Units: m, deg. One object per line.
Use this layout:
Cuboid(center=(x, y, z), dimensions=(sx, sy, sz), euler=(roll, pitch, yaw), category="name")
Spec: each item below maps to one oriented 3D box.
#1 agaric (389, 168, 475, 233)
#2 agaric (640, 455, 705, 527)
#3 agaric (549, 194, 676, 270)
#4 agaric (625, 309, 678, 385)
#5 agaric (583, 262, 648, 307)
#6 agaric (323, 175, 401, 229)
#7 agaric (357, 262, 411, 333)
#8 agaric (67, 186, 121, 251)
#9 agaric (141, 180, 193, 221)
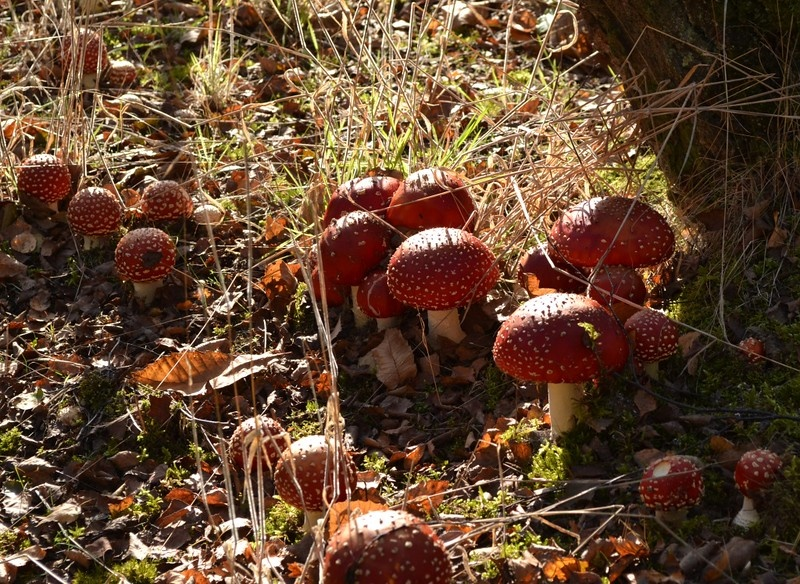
Cuboid(center=(0.228, -0.606, 5.300), dimensions=(0.457, 0.377, 0.455), euler=(-14, 41, -19), category="agaric")
Cuboid(center=(1.412, 1.058, 4.183), dimensions=(0.327, 0.371, 0.374), euler=(19, 69, -18), category="agaric")
Cuboid(center=(1.342, -0.340, 4.906), dimensions=(0.516, 0.523, 0.304), euler=(1, 103, -1), category="agaric")
Cuboid(center=(1.473, 0.335, 4.620), dimensions=(0.286, 0.378, 0.296), euler=(13, 35, 34), category="agaric")
Cuboid(center=(1.339, 0.024, 4.837), dimensions=(0.275, 0.289, 0.235), euler=(18, 105, 6), category="agaric")
Cuboid(center=(-0.265, -0.623, 5.538), dimensions=(0.410, 0.371, 0.320), euler=(-7, 93, 14), category="agaric")
Cuboid(center=(-0.071, 0.067, 5.359), dimensions=(0.340, 0.474, 0.340), euler=(-32, 55, -20), category="agaric")
Cuboid(center=(-2.327, -0.572, 6.051), dimensions=(0.392, 0.485, 0.390), euler=(-4, 18, -28), category="agaric")
Cuboid(center=(-1.790, -0.692, 6.061), dimensions=(0.319, 0.246, 0.312), euler=(-25, 49, -39), category="agaric")
